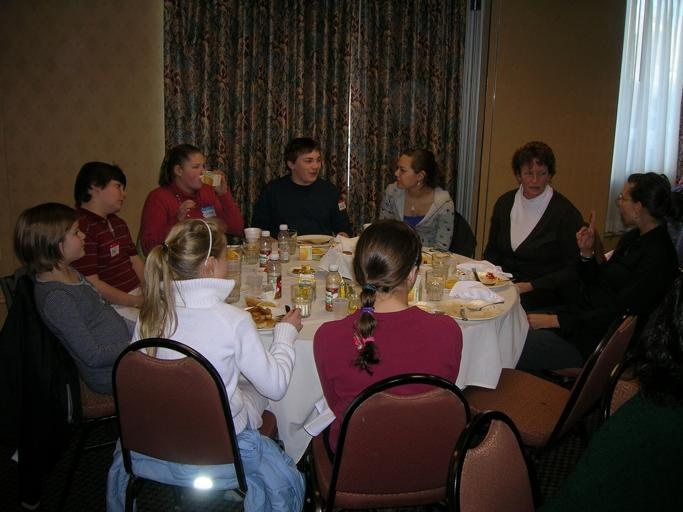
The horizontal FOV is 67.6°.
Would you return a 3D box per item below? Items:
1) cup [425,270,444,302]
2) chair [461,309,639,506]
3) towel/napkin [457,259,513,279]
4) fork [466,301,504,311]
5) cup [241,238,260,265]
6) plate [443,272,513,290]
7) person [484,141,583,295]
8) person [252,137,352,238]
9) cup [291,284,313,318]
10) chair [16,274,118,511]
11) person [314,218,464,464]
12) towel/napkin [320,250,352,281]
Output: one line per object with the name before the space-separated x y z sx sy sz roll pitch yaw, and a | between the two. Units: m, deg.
cup | 0.478 0.155 2.658 0.119 0.205 0.118 0 3 0
chair | 0.865 0.686 2.379 0.536 0.950 0.650 -9 17 -36
towel/napkin | 0.841 0.071 3.045 0.237 0.080 0.149 0 3 -35
fork | 0.666 0.239 2.458 0.055 0.020 0.101 -11 7 -32
cup | -0.542 -0.029 3.081 0.123 0.214 0.126 0 -6 0
plate | 0.788 0.132 2.832 0.222 0.036 0.154 -6 11 -27
person | 1.287 -0.248 3.586 0.570 1.096 0.603 -28 34 -35
person | -0.378 -0.596 4.373 0.715 0.788 0.505 -11 30 -22
cup | -0.186 0.209 2.386 0.117 0.165 0.126 0 4 0
chair | -1.308 0.623 2.236 0.273 1.036 0.268 7 15 27
person | 0.216 0.447 2.088 0.498 1.158 0.565 -7 27 2
towel/napkin | -0.033 0.027 2.815 0.216 0.162 0.143 7 -9 21
